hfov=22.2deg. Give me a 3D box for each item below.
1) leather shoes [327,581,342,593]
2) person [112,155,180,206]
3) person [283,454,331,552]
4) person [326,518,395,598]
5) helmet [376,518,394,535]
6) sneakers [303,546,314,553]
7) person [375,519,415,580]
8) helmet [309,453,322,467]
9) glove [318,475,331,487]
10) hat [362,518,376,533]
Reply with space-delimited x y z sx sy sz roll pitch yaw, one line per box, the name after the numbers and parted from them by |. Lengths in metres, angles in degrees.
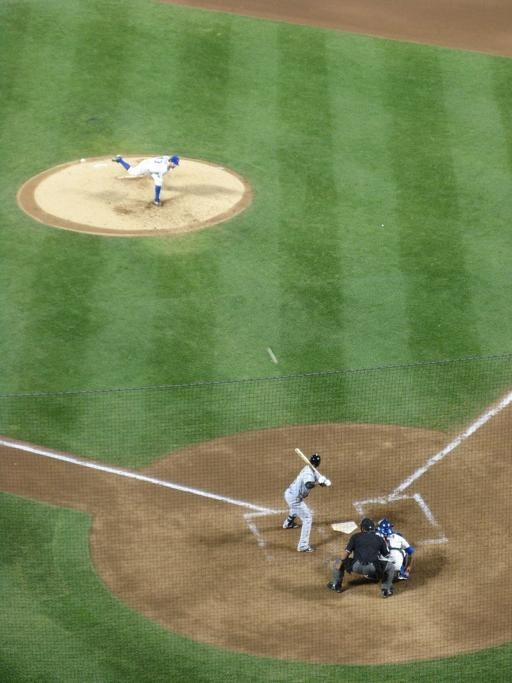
1.198 3.749 19.895 0.212 0.129 0.105 32 53 32 | leather shoes
-2.315 -3.460 27.652 1.493 0.622 1.139 14 29 31 | person
0.819 2.671 20.978 0.885 1.542 0.907 0 33 -1 | person
1.608 3.354 19.881 1.070 0.747 1.131 6 102 6 | person
1.959 2.859 20.116 0.205 0.250 0.234 7 83 -12 | helmet
0.823 3.279 20.537 0.175 0.068 0.064 -1 22 -3 | sneakers
2.078 3.236 20.073 0.607 0.979 0.568 8 22 39 | person
0.928 1.867 20.493 0.172 0.218 0.199 -25 69 18 | helmet
1.043 2.179 20.244 0.130 0.052 0.211 -48 28 -10 | glove
1.688 2.800 19.747 0.230 0.342 0.176 8 60 5 | hat
